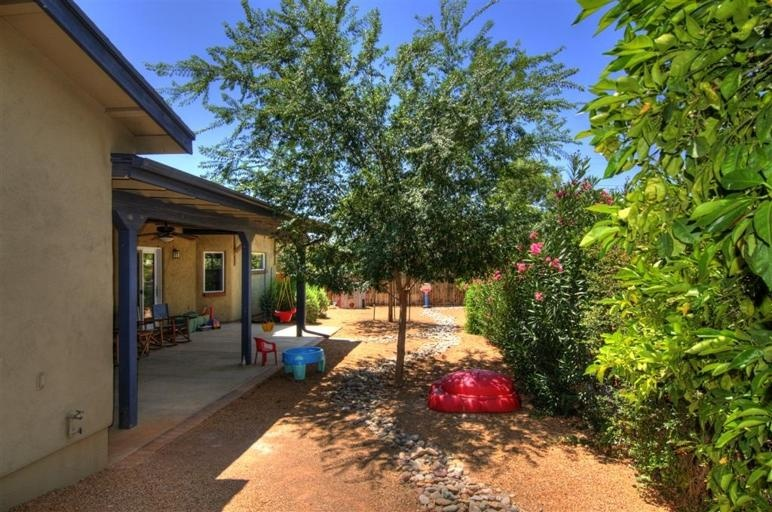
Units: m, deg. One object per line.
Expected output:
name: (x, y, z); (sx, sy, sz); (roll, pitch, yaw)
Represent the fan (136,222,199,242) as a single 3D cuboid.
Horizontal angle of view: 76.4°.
fan: (-5.986, -0.659, 13.282); (0.860, 0.361, 0.875); (2, 6, 4)
